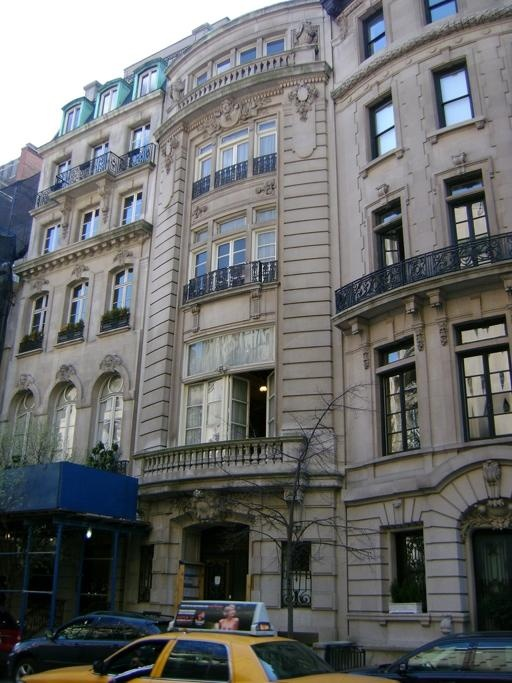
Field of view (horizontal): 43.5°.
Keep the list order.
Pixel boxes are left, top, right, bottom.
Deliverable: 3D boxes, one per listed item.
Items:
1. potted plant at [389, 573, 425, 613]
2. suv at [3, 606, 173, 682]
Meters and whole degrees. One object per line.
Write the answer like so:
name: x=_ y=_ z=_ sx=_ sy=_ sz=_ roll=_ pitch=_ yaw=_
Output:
potted plant: x=3.680 y=6.031 z=15.462 sx=0.810 sy=0.925 sz=0.707 roll=-1 pitch=-26 yaw=13
suv: x=-3.359 y=5.848 z=12.495 sx=3.464 sy=1.250 sz=1.550 roll=-13 pitch=-35 yaw=17
